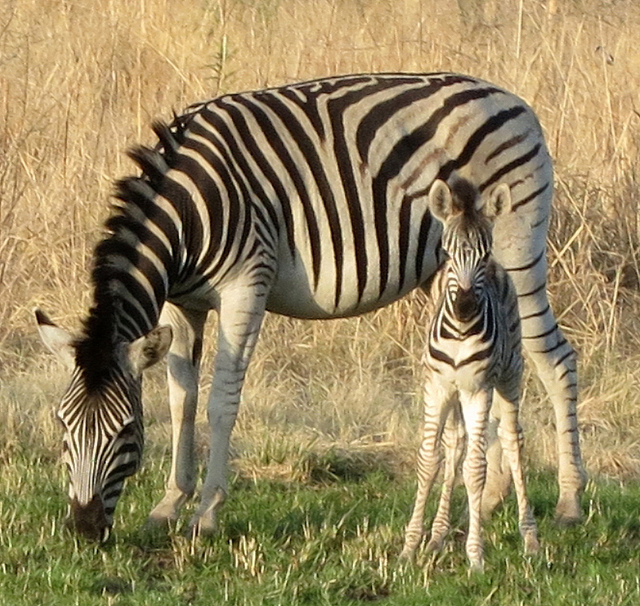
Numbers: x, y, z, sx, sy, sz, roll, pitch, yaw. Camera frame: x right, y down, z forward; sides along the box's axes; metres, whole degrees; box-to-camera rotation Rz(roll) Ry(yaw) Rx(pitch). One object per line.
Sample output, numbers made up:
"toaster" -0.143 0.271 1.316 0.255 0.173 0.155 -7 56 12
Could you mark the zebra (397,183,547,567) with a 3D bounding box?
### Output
"zebra" 0.864 0.427 8.139 0.607 2.466 2.372 2 2 6
